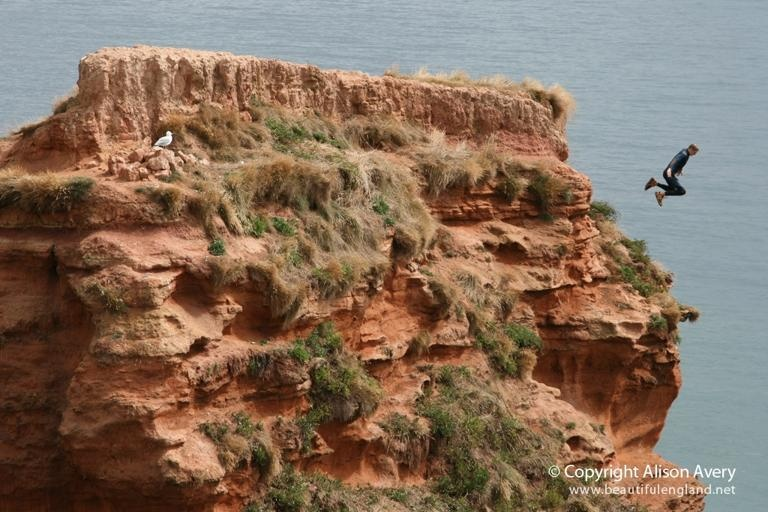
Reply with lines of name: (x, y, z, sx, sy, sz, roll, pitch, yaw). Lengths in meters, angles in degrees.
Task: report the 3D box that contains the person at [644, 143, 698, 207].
person: (6.738, -1.978, 47.339, 1.052, 1.425, 0.930, 21, 6, 33)
